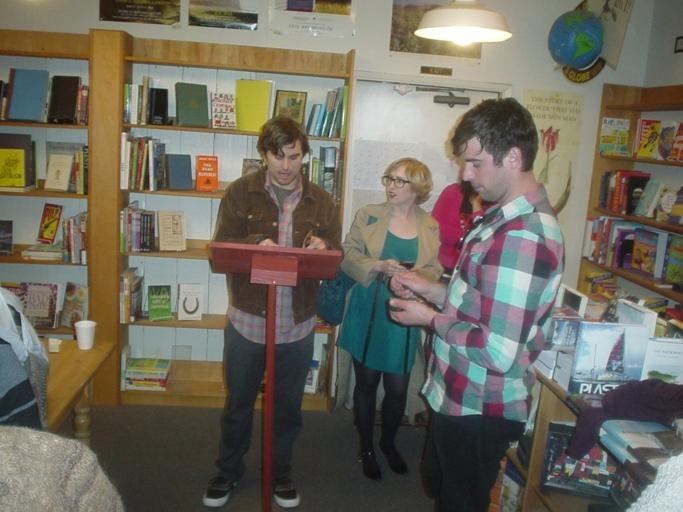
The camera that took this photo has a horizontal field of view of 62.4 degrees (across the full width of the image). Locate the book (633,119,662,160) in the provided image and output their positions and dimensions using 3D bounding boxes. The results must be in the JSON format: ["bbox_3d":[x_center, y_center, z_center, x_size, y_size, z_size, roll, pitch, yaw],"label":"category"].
[{"bbox_3d":[2.305,-0.868,4.242,0.243,0.258,0.062,4,6,25],"label":"book"}]

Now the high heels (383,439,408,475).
[{"bbox_3d":[0.331,1.312,3.814,0.096,0.129,0.293,-22,19,-15],"label":"high heels"}]

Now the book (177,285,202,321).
[{"bbox_3d":[-1.178,0.395,4.408,0.204,0.299,0.177,0,-28,-10],"label":"book"}]

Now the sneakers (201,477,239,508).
[{"bbox_3d":[-0.739,1.396,3.358,0.093,0.105,0.235,13,-4,6],"label":"sneakers"}]

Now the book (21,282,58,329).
[{"bbox_3d":[-2.209,0.366,4.130,0.298,0.417,0.053,-1,-7,-2],"label":"book"}]

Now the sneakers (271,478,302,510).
[{"bbox_3d":[-0.335,1.422,3.405,0.086,0.094,0.225,3,-4,-19],"label":"sneakers"}]

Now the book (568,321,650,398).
[{"bbox_3d":[1.252,0.488,2.627,0.293,0.366,0.057,4,8,2],"label":"book"}]

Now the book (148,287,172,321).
[{"bbox_3d":[-1.400,0.369,4.331,0.223,0.340,0.036,0,2,-6],"label":"book"}]

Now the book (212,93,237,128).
[{"bbox_3d":[-0.854,-1.045,4.108,0.228,0.334,0.041,0,-1,-9],"label":"book"}]

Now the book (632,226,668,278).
[{"bbox_3d":[2.333,-0.016,4.277,0.120,0.343,0.341,5,8,0],"label":"book"}]

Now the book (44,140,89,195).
[{"bbox_3d":[-2.036,-0.629,4.162,0.379,0.421,0.095,5,-4,-5],"label":"book"}]

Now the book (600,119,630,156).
[{"bbox_3d":[2.200,-0.959,4.568,0.261,0.341,0.043,1,4,-3],"label":"book"}]

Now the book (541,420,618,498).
[{"bbox_3d":[1.215,0.988,2.845,0.358,0.369,0.199,2,14,25],"label":"book"}]

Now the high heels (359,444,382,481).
[{"bbox_3d":[0.187,1.345,3.734,0.078,0.110,0.248,-4,9,-15],"label":"high heels"}]

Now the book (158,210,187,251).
[{"bbox_3d":[-1.274,-0.180,4.242,0.186,0.304,0.027,-1,-13,-25],"label":"book"}]

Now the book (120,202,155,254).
[{"bbox_3d":[-1.461,-0.204,4.254,0.286,0.416,0.301,1,7,-6],"label":"book"}]

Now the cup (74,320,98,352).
[{"bbox_3d":[-1.610,0.496,3.556,0.145,0.156,0.147,2,4,0],"label":"cup"}]

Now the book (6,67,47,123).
[{"bbox_3d":[-2.230,-1.134,4.009,0.259,0.377,0.108,4,-6,-3],"label":"book"}]

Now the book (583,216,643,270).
[{"bbox_3d":[2.241,-0.044,4.628,0.440,0.463,0.334,5,6,-36],"label":"book"}]

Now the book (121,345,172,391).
[{"bbox_3d":[-1.505,0.835,4.367,0.292,0.209,0.319,1,5,-9],"label":"book"}]

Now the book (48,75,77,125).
[{"bbox_3d":[-1.988,-1.119,4.090,0.280,0.310,0.073,-2,-4,-8],"label":"book"}]

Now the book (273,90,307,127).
[{"bbox_3d":[-0.388,-1.089,4.214,0.234,0.289,0.028,-1,41,-16],"label":"book"}]

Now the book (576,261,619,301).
[{"bbox_3d":[2.027,0.195,4.442,0.219,0.240,0.170,19,6,11],"label":"book"}]

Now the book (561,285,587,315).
[{"bbox_3d":[1.277,0.246,3.113,0.030,0.089,0.156,6,14,-16],"label":"book"}]

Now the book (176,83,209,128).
[{"bbox_3d":[-1.080,-1.084,4.107,0.213,0.293,0.074,-3,2,-17],"label":"book"}]

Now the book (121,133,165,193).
[{"bbox_3d":[-1.401,-0.672,4.205,0.345,0.499,0.363,2,4,-5],"label":"book"}]

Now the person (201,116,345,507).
[{"bbox_3d":[-0.409,0.356,3.295,0.812,2.274,0.421,-1,9,-15],"label":"person"}]
